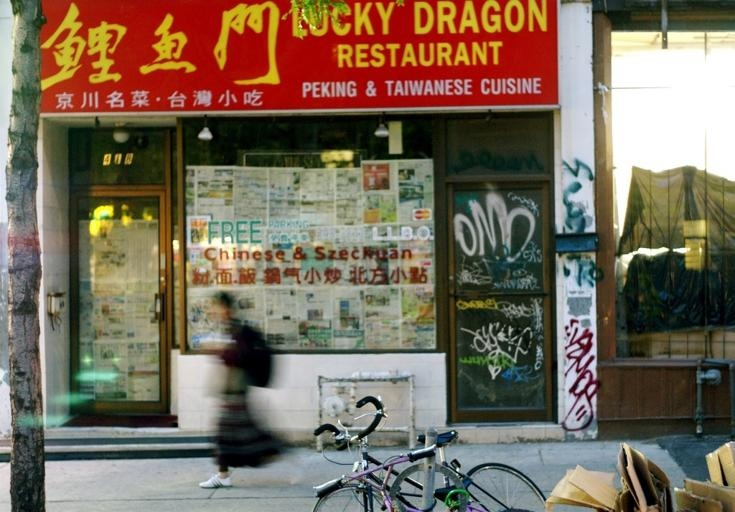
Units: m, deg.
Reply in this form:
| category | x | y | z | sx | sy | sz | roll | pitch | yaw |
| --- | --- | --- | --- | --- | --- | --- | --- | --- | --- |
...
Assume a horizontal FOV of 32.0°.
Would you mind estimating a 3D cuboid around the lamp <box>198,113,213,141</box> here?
| category | x | y | z | sx | sy | sz | roll | pitch | yaw |
| --- | --- | --- | --- | --- | --- | --- | --- | --- | --- |
| lamp | -2.441 | -1.877 | 19.215 | 0.236 | 0.354 | 0.246 | -2 | -2 | -10 |

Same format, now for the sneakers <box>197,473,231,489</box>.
| category | x | y | z | sx | sy | sz | roll | pitch | yaw |
| --- | --- | --- | --- | --- | --- | --- | --- | --- | --- |
| sneakers | -2.151 | 3.142 | 17.979 | 0.484 | 0.217 | 0.186 | 4 | -11 | -2 |

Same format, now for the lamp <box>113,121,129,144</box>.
| category | x | y | z | sx | sy | sz | roll | pitch | yaw |
| --- | --- | --- | --- | --- | --- | --- | --- | --- | --- |
| lamp | -3.834 | -1.854 | 19.925 | 0.250 | 0.244 | 0.292 | -1 | -2 | -24 |

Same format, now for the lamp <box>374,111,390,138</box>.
| category | x | y | z | sx | sy | sz | roll | pitch | yaw |
| --- | --- | --- | --- | --- | --- | --- | --- | --- | --- |
| lamp | 0.284 | -1.941 | 19.140 | 0.268 | 0.403 | 0.268 | 0 | -5 | 3 |
